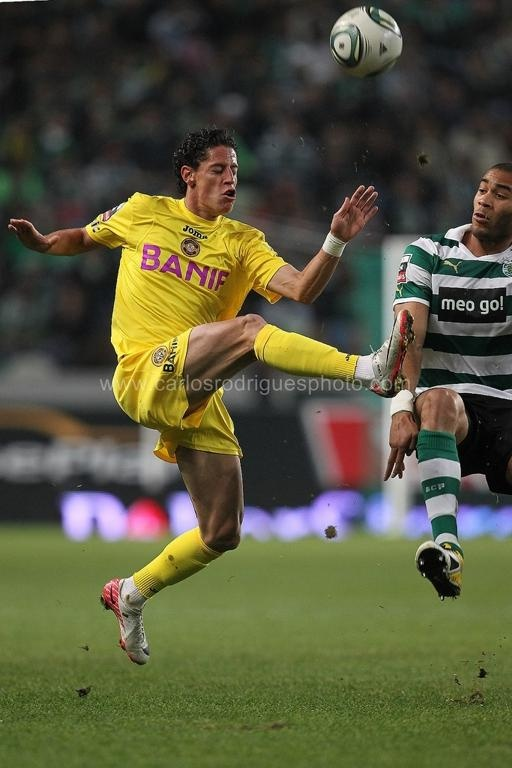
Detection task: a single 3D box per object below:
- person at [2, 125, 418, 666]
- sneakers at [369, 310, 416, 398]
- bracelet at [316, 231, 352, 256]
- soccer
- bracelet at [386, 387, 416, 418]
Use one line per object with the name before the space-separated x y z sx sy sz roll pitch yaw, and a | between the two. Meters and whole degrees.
person | -0.153 0.011 3.426 1.432 2.152 0.608 -2 -6 28
sneakers | 0.481 -0.080 2.952 0.111 0.300 0.156 8 5 -33
bracelet | 0.298 -0.519 3.401 0.105 0.094 0.093 17 11 -38
soccer | 0.458 -1.502 4.020 0.356 0.290 0.307 1 12 0
bracelet | 0.521 0.067 3.201 0.089 0.093 0.098 8 -28 -4
